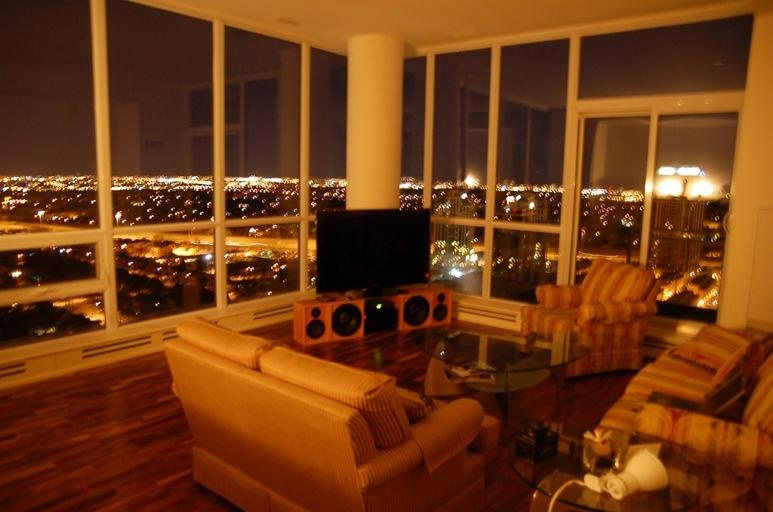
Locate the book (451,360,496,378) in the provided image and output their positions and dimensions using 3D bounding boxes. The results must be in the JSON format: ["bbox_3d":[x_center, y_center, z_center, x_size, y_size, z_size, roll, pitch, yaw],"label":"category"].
[{"bbox_3d":[0.747,0.997,4.684,0.266,0.081,0.265,1,-5,-25],"label":"book"}]

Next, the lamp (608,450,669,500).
[{"bbox_3d":[1.467,1.294,3.280,0.352,0.232,0.099,-1,8,-12],"label":"lamp"}]
